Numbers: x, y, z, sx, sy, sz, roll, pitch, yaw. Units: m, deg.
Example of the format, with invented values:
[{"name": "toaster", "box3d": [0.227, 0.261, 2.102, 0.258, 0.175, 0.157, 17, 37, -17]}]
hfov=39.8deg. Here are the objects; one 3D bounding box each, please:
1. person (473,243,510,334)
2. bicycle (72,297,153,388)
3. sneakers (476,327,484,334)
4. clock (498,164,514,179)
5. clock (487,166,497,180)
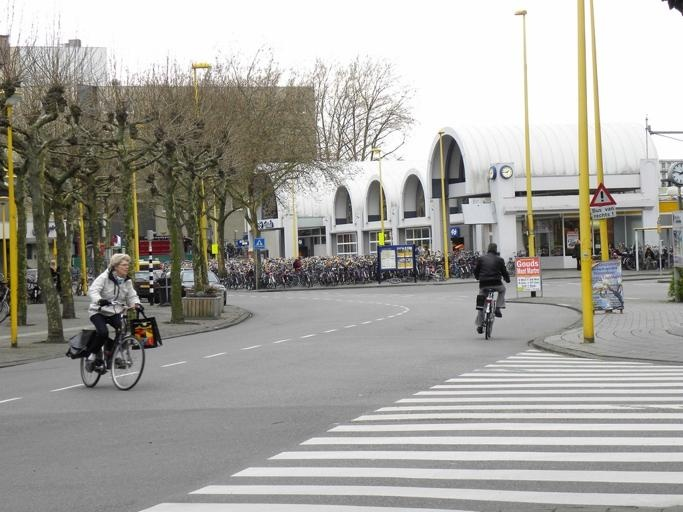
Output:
[{"name": "person", "box3d": [3.441, 0.546, 21.663, 0.705, 2.400, 0.640, -1, 1, 4]}, {"name": "bicycle", "box3d": [-3.666, 1.408, 15.516, 1.566, 1.517, 1.023, -3, 0, 35]}, {"name": "sneakers", "box3d": [3.154, 1.678, 21.314, 0.131, 0.178, 0.185, -1, 1, 3]}, {"name": "clock", "box3d": [9.698, -4.952, 55.133, 0.844, 0.840, 0.383, -4, 1, -35]}, {"name": "clock", "box3d": [8.966, -4.960, 55.854, 0.183, 1.088, 0.998, 0, -1, -14]}]
